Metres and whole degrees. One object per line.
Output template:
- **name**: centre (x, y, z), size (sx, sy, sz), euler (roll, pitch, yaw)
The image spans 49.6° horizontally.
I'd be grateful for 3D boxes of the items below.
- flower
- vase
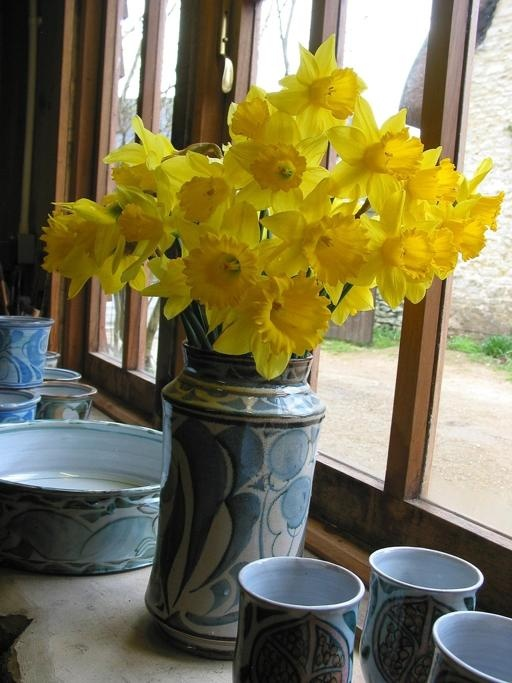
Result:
- **flower**: centre (0.006, -0.111, 0.460), size (0.331, 0.275, 0.233), euler (13, 9, 35)
- **vase**: centre (-0.019, 0.143, 0.537), size (0.154, 0.257, 0.156), euler (5, 1, 24)
